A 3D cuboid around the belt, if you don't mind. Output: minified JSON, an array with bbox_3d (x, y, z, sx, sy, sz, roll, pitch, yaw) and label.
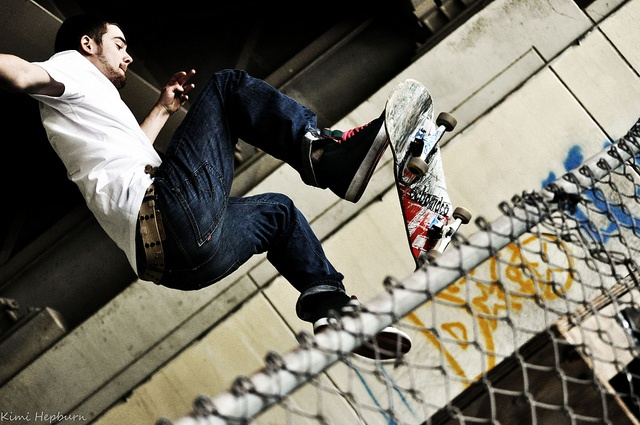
[{"bbox_3d":[-1.264,0.193,6.782,0.124,0.556,0.398,-4,-3,-6],"label":"belt"}]
